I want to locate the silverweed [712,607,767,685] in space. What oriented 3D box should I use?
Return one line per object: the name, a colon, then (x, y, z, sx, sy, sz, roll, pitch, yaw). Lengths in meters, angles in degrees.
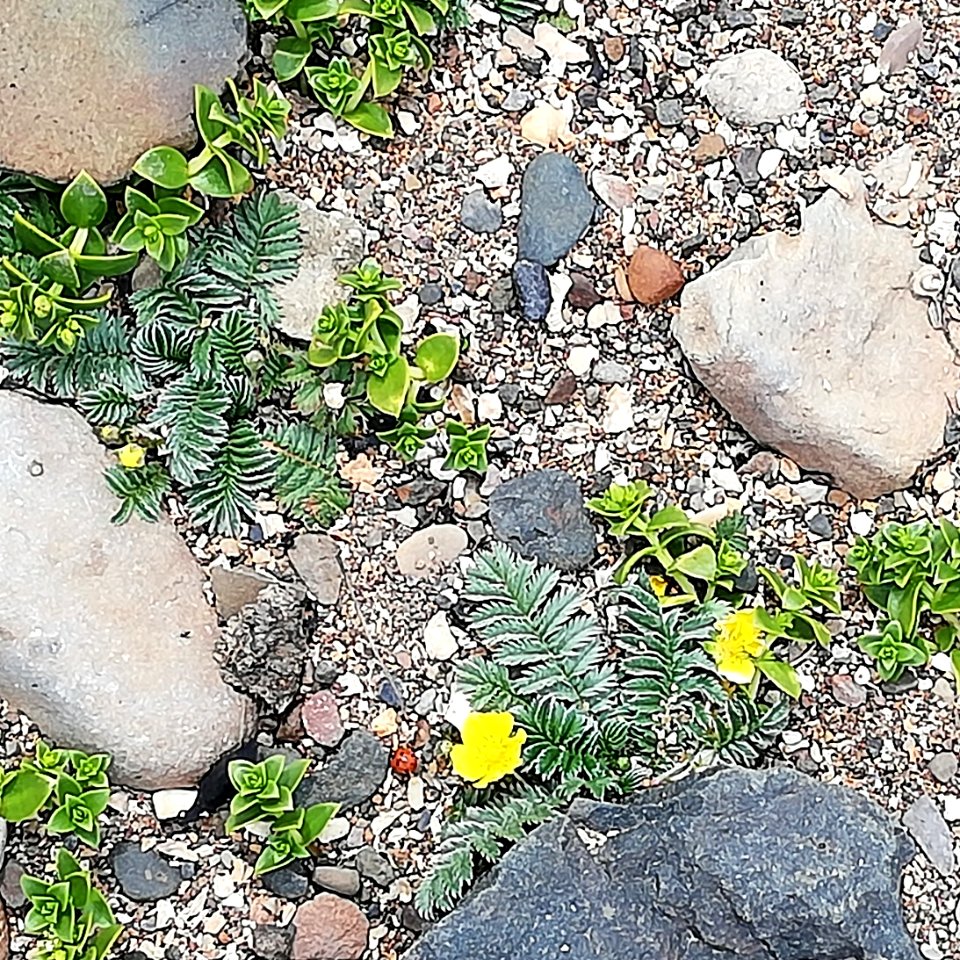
silverweed: (0.503, 0.332, 2.257, 0.122, 0.039, 0.129, -18, 104, -7)
